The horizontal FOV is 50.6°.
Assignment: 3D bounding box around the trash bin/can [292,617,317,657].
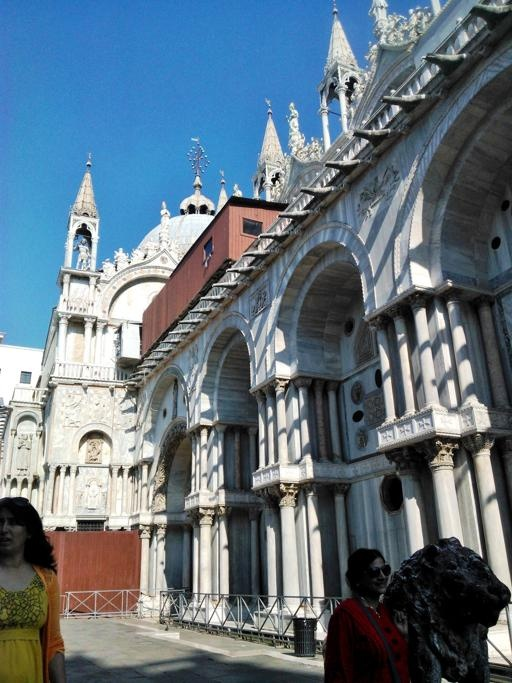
[{"bbox_3d":[1.054,6.463,11.781,0.497,0.828,0.491,1,-11,7],"label":"trash bin/can"}]
